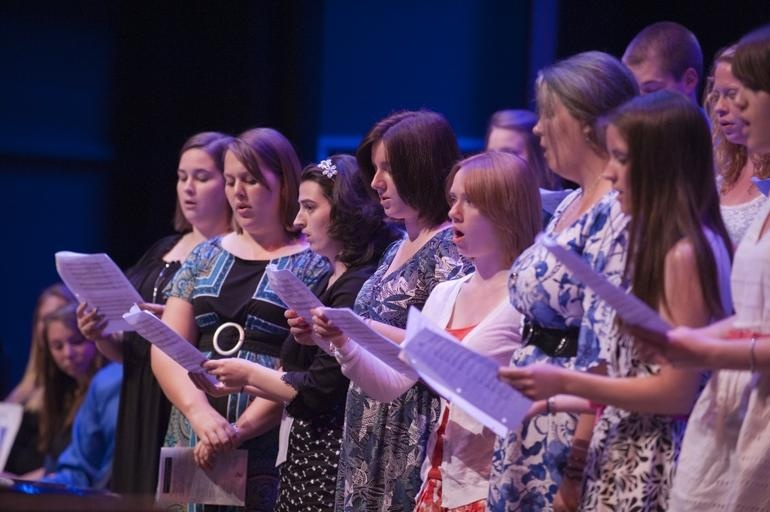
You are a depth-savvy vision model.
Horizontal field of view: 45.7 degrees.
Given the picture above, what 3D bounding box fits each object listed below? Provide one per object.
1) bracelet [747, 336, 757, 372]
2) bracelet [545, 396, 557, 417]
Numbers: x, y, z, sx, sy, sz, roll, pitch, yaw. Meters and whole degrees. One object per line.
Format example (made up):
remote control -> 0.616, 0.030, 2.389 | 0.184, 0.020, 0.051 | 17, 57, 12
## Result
bracelet -> 1.062, 0.285, 2.620 | 0.025, 0.071, 0.052 | 5, 3, 15
bracelet -> 0.542, 0.486, 2.921 | 0.049, 0.048, 0.051 | -7, -4, 19
